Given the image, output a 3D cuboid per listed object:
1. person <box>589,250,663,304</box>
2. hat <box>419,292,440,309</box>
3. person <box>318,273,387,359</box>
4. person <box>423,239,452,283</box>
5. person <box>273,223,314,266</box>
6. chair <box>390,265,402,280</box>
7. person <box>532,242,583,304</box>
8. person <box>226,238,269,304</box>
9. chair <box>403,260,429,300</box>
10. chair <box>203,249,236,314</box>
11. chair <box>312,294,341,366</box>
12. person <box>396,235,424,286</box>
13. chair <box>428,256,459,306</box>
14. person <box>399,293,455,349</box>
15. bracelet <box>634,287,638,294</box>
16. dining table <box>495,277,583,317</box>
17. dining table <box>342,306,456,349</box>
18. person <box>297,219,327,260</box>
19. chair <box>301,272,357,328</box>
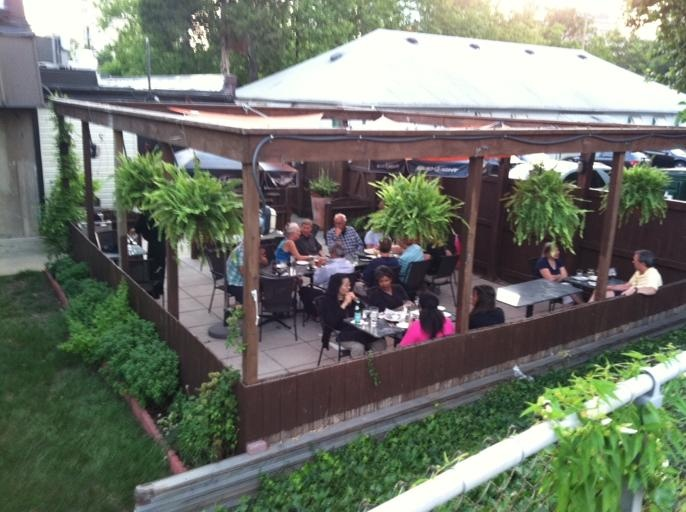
[{"bbox_3d":[5.024,0.408,9.303,1.235,0.977,0.702,-2,4,-3],"label":"person"},{"bbox_3d":[1.135,0.585,6.971,0.182,0.252,0.240,-3,17,-7],"label":"hat"},{"bbox_3d":[-0.034,1.080,7.811,0.850,1.546,0.590,10,12,-15],"label":"person"},{"bbox_3d":[1.730,0.114,9.731,0.473,0.789,0.528,-13,38,-21],"label":"person"},{"bbox_3d":[-0.893,-0.240,9.711,0.660,0.774,0.488,4,14,-17],"label":"person"},{"bbox_3d":[0.911,0.278,9.029,0.205,0.279,0.231,1,46,0],"label":"chair"},{"bbox_3d":[3.917,0.353,9.470,0.543,1.166,1.041,-5,7,-19],"label":"person"},{"bbox_3d":[-1.612,0.152,8.707,0.670,0.925,0.695,-13,-15,32],"label":"person"},{"bbox_3d":[1.239,0.387,9.134,0.429,0.629,0.495,-14,28,-27],"label":"chair"},{"bbox_3d":[-2.068,0.447,9.429,0.681,1.074,0.602,8,10,18],"label":"chair"},{"bbox_3d":[-0.187,1.224,7.855,0.418,0.678,0.473,16,10,37],"label":"chair"},{"bbox_3d":[1.164,0.093,9.035,0.496,0.736,0.571,-7,23,-16],"label":"person"},{"bbox_3d":[1.864,0.452,9.862,0.531,0.931,0.620,-14,28,-25],"label":"chair"},{"bbox_3d":[1.134,0.917,7.299,0.506,0.936,0.441,-9,54,-6],"label":"person"},{"bbox_3d":[5.099,0.599,9.114,0.077,0.108,0.020,-7,-4,-20],"label":"bracelet"},{"bbox_3d":[3.137,0.586,8.682,1.694,0.518,0.834,-5,-7,-44],"label":"dining table"},{"bbox_3d":[0.728,0.990,7.205,1.012,0.256,0.653,-12,26,-29],"label":"dining table"},{"bbox_3d":[-0.654,-0.307,10.308,0.597,0.769,0.508,12,15,35],"label":"person"},{"bbox_3d":[-0.206,0.668,8.086,0.639,1.215,0.530,11,20,31],"label":"chair"}]
